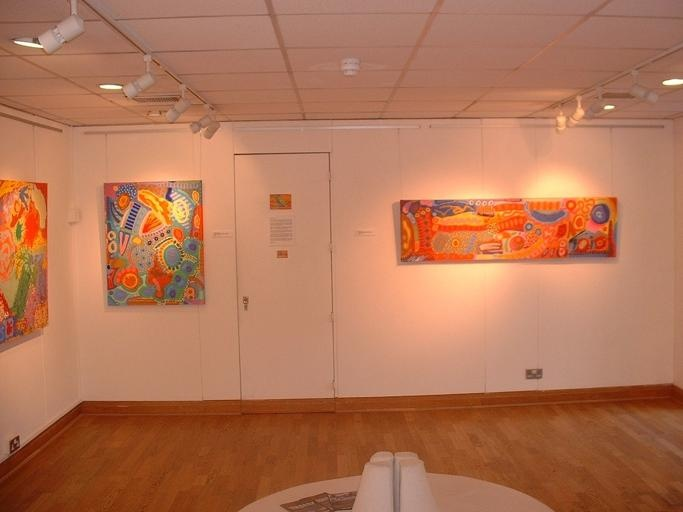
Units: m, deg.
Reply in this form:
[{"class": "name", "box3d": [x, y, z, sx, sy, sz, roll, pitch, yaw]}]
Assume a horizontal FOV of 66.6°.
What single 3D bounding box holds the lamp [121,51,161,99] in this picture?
[{"class": "lamp", "box3d": [-1.537, -1.366, 3.950, 0.221, 0.291, 0.477, -5, 11, -19]}]
